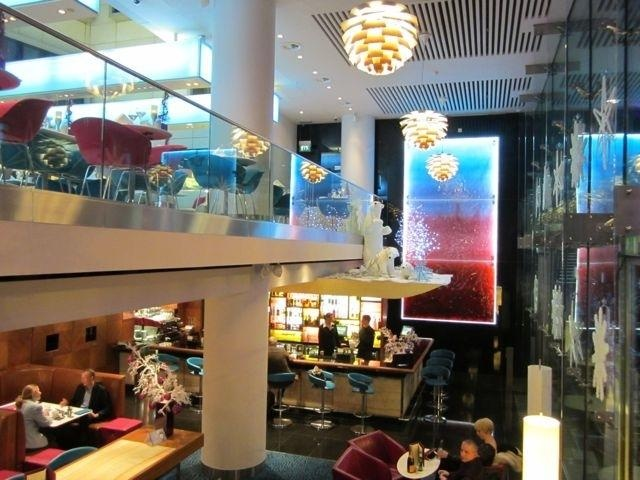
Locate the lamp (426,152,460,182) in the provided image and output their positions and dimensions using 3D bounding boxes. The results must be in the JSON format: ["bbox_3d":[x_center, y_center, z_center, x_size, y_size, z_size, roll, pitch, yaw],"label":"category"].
[{"bbox_3d":[3.428,-2.061,14.371,0.791,0.837,0.827,3,5,16],"label":"lamp"}]

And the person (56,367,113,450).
[{"bbox_3d":[-4.065,2.943,8.999,0.776,1.189,0.776,3,2,-2],"label":"person"}]

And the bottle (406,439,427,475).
[{"bbox_3d":[1.288,2.965,6.956,0.264,0.388,0.294,-1,-4,9],"label":"bottle"}]

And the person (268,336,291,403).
[{"bbox_3d":[-0.907,2.424,10.326,0.636,0.899,0.491,-5,-10,-11],"label":"person"}]
